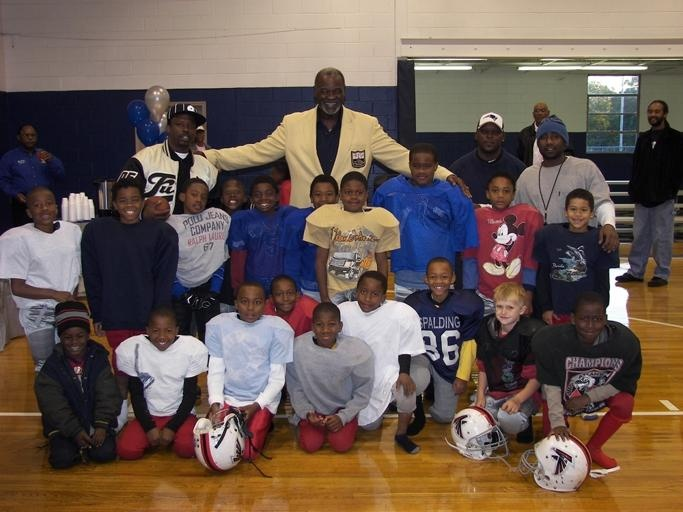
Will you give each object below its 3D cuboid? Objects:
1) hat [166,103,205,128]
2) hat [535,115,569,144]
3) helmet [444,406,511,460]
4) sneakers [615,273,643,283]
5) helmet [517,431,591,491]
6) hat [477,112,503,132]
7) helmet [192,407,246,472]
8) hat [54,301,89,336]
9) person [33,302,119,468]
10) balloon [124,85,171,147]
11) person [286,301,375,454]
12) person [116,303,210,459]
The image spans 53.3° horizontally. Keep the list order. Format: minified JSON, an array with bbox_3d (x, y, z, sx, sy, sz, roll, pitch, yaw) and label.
[{"bbox_3d":[-1.222,-1.105,5.362,0.279,0.189,0.265,-4,13,-19],"label":"hat"},{"bbox_3d":[1.688,-1.039,5.465,0.224,0.223,0.239,2,-11,7],"label":"hat"},{"bbox_3d":[0.918,1.190,4.716,0.433,0.269,0.280,6,16,36],"label":"helmet"},{"bbox_3d":[3.726,0.299,8.826,0.394,0.160,0.142,3,3,7],"label":"sneakers"},{"bbox_3d":[1.374,1.305,4.465,0.435,0.300,0.314,14,16,40],"label":"helmet"},{"bbox_3d":[1.254,-1.134,5.736,0.204,0.129,0.328,2,12,9],"label":"hat"},{"bbox_3d":[-0.801,1.220,4.576,0.326,0.280,0.374,0,46,0],"label":"helmet"},{"bbox_3d":[-1.913,0.441,4.866,0.227,0.231,0.253,-2,-11,-34],"label":"hat"},{"bbox_3d":[-1.830,0.869,4.726,0.530,1.011,0.619,-7,14,-27],"label":"person"},{"bbox_3d":[-2.480,-1.801,8.795,0.517,0.765,0.703,-4,13,-16],"label":"balloon"},{"bbox_3d":[-0.075,0.832,4.788,0.623,1.002,0.415,-1,13,-5],"label":"person"},{"bbox_3d":[-1.264,0.871,4.723,0.660,0.986,0.510,-1,13,-6],"label":"person"}]
